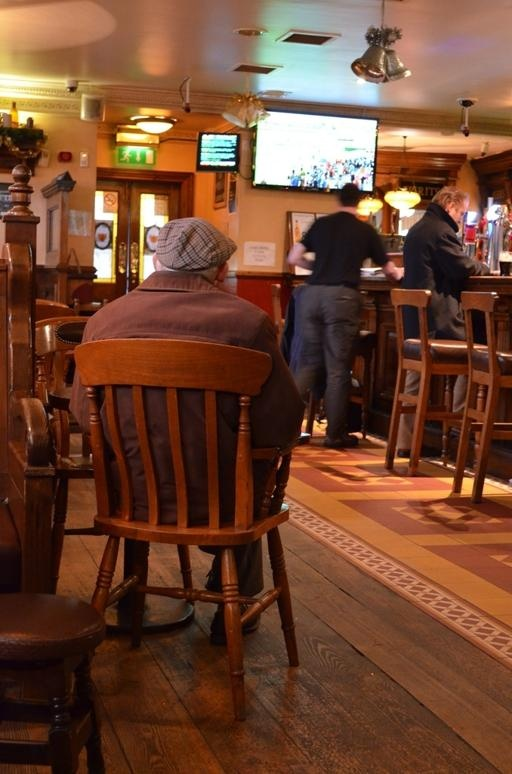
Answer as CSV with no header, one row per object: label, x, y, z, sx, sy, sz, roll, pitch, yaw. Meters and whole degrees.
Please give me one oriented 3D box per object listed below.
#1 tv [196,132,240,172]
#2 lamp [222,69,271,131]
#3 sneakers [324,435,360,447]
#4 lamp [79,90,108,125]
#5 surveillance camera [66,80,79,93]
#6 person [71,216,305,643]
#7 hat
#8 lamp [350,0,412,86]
tv,-0.506,-3.145,8.184,0.566,0.453,0.194,1,7,-9
lamp,-0.089,-3.624,7.828,0.530,0.716,0.798,2,0,12
sneakers,0.721,0.457,5.015,0.312,0.126,0.104,-5,9,-29
lamp,-2.099,-3.555,7.923,0.416,0.383,0.402,2,0,-3
surveillance camera,-2.333,-3.818,7.760,0.168,0.146,0.160,-1,45,-11
person,-0.133,0.111,1.570,0.558,0.990,0.511,4,16,15
hat,-0.146,-0.324,1.426,0.133,0.064,0.167,9,26,10
lamp,1.169,-3.141,5.579,0.464,0.762,0.594,2,0,20
